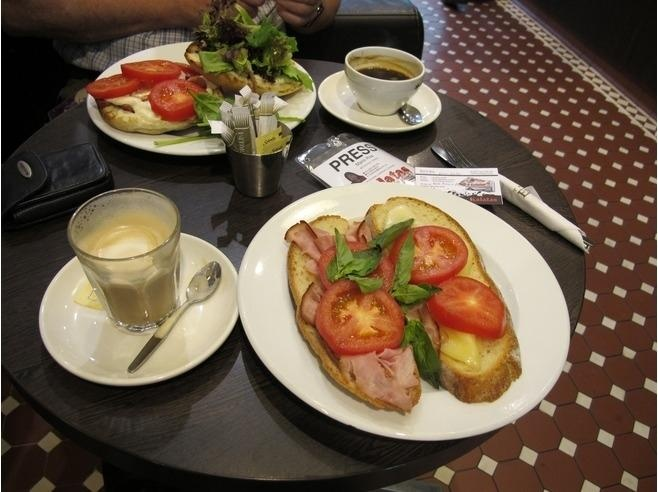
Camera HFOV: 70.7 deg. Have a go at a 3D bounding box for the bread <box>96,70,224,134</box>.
[{"bbox_3d":[-0.578,-0.429,1.508,0.246,0.065,0.243,-17,42,-22],"label":"bread"}]

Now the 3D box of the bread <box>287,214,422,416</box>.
[{"bbox_3d":[0.034,0.129,1.016,0.226,0.054,0.485,-12,67,-23],"label":"bread"}]

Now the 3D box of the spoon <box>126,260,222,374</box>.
[{"bbox_3d":[-0.333,0.131,1.163,0.084,0.059,0.414,29,68,11],"label":"spoon"}]
